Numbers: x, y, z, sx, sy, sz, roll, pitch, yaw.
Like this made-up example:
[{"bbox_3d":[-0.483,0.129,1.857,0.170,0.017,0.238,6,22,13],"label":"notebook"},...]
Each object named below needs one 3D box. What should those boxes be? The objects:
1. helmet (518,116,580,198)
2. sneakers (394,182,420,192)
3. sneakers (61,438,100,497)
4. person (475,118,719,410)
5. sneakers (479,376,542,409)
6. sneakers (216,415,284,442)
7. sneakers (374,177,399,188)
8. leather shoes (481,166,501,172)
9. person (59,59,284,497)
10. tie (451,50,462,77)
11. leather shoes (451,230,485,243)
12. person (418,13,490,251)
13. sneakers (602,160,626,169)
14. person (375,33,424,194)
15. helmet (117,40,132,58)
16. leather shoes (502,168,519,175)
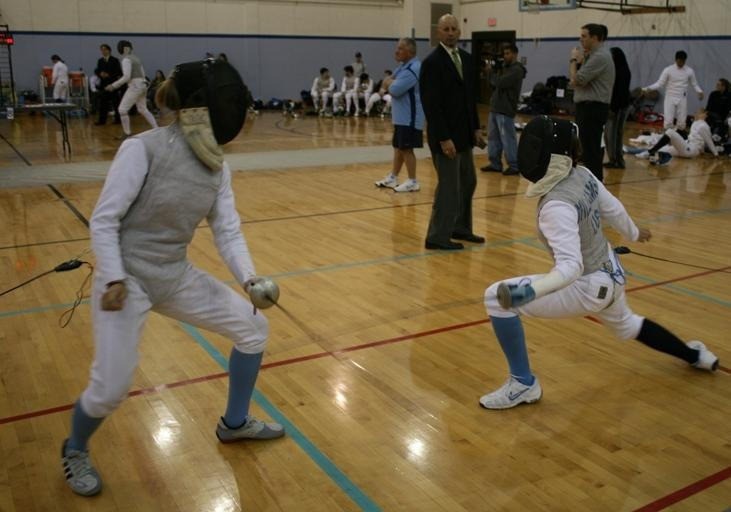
[{"bbox_3d":[0.922,-0.495,2.829,0.290,0.397,0.278,5,18,20],"label":"helmet"},{"bbox_3d":[0.552,-0.945,7.514,0.359,0.154,0.127,0,31,-1],"label":"sneakers"},{"bbox_3d":[-1.244,0.916,2.473,0.119,0.119,0.297,-17,44,-43],"label":"sneakers"},{"bbox_3d":[1.087,0.049,2.917,1.428,1.495,0.573,-11,19,-28],"label":"person"},{"bbox_3d":[0.781,0.723,3.066,0.367,0.169,0.140,-9,15,-6],"label":"sneakers"},{"bbox_3d":[-0.561,0.817,2.770,0.347,0.128,0.126,-2,11,-17],"label":"sneakers"},{"bbox_3d":[0.305,-1.036,7.766,0.333,0.187,0.135,8,20,20],"label":"sneakers"},{"bbox_3d":[2.005,-1.363,8.889,0.303,0.127,0.112,6,10,6],"label":"leather shoes"},{"bbox_3d":[-0.856,0.108,2.361,0.928,1.787,0.391,-9,19,-26],"label":"person"},{"bbox_3d":[0.846,-1.764,5.123,0.107,0.220,0.101,11,21,35],"label":"tie"},{"bbox_3d":[1.026,-0.210,5.624,0.353,0.140,0.121,3,15,14],"label":"leather shoes"},{"bbox_3d":[0.832,-1.125,5.211,0.493,2.108,0.599,13,22,39],"label":"person"},{"bbox_3d":[4.116,-1.507,9.227,0.140,0.156,0.389,-8,16,-14],"label":"sneakers"},{"bbox_3d":[0.521,-1.727,7.074,0.419,1.899,0.714,1,17,6],"label":"person"},{"bbox_3d":[-4.709,-4.043,10.908,0.211,0.272,0.692,-9,19,-25],"label":"helmet"},{"bbox_3d":[2.231,-1.291,8.573,0.229,0.097,0.122,0,13,-19],"label":"leather shoes"}]
